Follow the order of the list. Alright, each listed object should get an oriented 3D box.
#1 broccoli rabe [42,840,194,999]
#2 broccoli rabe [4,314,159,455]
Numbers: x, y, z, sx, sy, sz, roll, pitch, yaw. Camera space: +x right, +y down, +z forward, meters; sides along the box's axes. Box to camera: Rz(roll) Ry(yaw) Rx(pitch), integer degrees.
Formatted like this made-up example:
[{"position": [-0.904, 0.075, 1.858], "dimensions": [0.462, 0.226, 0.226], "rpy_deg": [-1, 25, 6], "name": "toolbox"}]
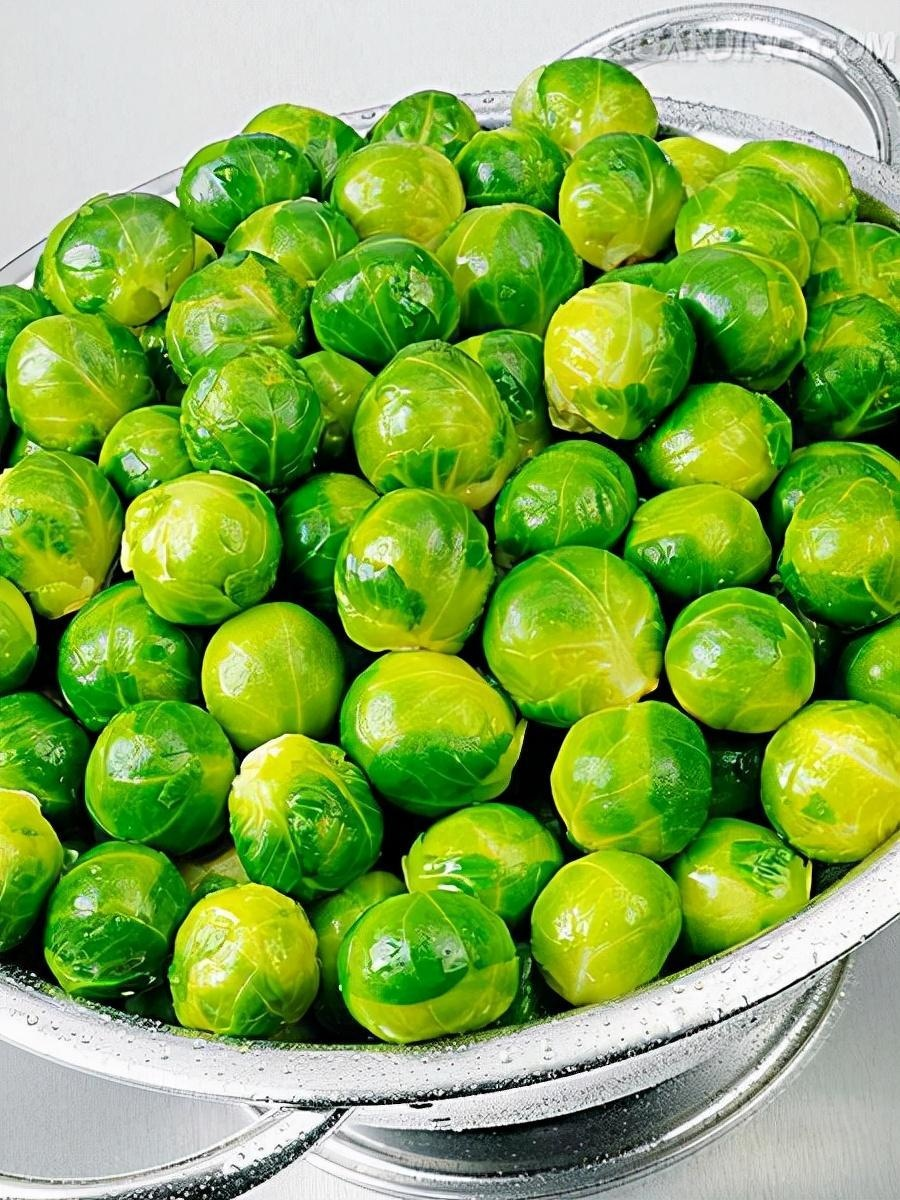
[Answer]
[{"position": [-0.335, 0.348, 1.138], "dimensions": [0.124, 0.161, 0.126], "rpy_deg": [11, 62, 7], "name": "broccoli rabe"}, {"position": [-0.520, -0.277, 1.520], "dimensions": [0.177, 0.199, 0.120], "rpy_deg": [-41, 10, -22], "name": "broccoli rabe"}]
